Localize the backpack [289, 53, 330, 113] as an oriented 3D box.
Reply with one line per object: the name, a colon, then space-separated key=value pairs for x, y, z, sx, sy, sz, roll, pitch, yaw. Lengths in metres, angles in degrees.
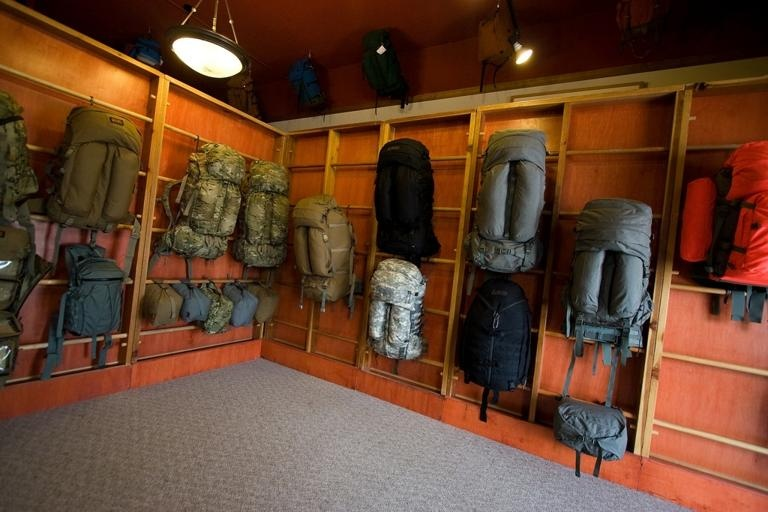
backpack: x=-0.982 y=-2.341 z=6.339 sx=0.561 sy=0.691 sz=0.383 roll=13 pitch=31 yaw=42

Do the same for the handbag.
handbag: x=-2.017 y=0.531 z=5.321 sx=1.013 sy=0.391 sz=0.594 roll=5 pitch=0 yaw=-41

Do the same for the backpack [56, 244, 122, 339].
backpack: x=-2.838 y=0.333 z=4.599 sx=0.513 sy=0.916 sz=0.279 roll=6 pitch=0 yaw=-30

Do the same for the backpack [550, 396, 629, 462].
backpack: x=1.841 y=1.562 z=4.241 sx=0.593 sy=0.497 sz=0.307 roll=6 pitch=0 yaw=22

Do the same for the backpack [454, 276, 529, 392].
backpack: x=1.087 y=0.754 z=4.559 sx=0.644 sy=1.065 sz=0.231 roll=6 pitch=0 yaw=15
